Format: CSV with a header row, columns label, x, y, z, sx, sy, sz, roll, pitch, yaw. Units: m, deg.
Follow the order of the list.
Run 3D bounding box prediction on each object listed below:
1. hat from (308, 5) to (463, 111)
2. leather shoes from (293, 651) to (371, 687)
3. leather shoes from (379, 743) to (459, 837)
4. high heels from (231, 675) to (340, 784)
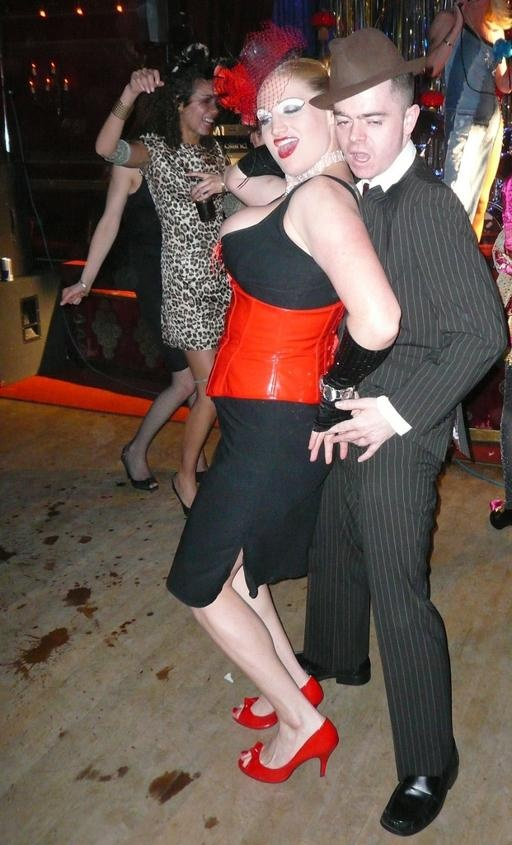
label,x,y,z,sx,sy,sz,roll,pitch,yaw
hat,0.178,-0.587,0.972,0.225,0.111,0.127,-27,42,-34
leather shoes,0.226,0.697,1.671,0.235,0.096,0.091,4,10,1
leather shoes,0.327,0.742,1.176,0.071,0.075,0.204,14,40,35
high heels,0.062,0.725,1.368,0.205,0.133,0.236,-1,26,5
